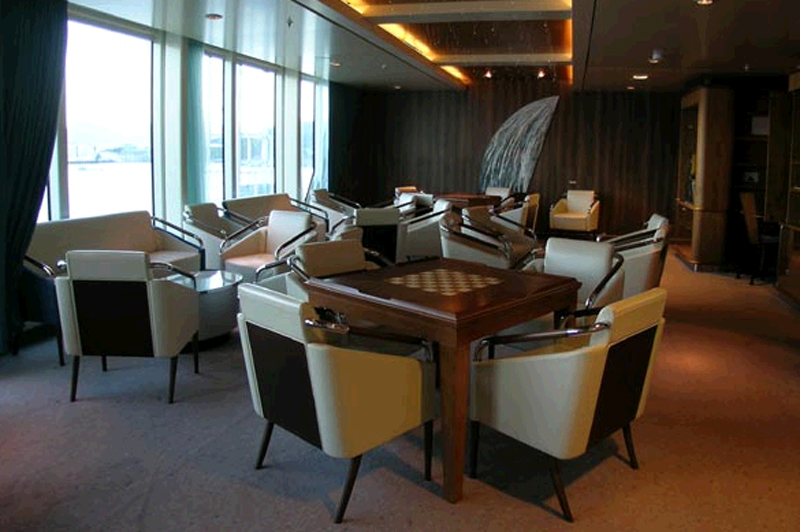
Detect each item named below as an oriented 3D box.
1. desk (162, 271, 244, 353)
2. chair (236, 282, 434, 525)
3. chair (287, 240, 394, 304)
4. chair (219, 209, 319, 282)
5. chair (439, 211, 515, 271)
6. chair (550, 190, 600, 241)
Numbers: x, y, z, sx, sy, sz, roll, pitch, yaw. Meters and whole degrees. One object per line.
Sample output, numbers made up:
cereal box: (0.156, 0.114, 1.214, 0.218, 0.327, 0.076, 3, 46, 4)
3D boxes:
desk: (-2.031, 0.406, 6.228, 0.825, 0.597, 0.790, 7, 9, 39)
chair: (-0.497, 0.625, 4.618, 1.373, 1.943, 1.501, 13, 19, 42)
chair: (-0.729, -0.043, 5.378, 0.631, 0.577, 0.613, -7, 11, -37)
chair: (-1.639, -0.318, 7.521, 0.804, 1.142, 1.109, 10, 14, 33)
chair: (0.933, -0.310, 7.221, 0.842, 0.878, 0.665, 5, 12, 20)
chair: (3.483, -1.016, 11.795, 0.968, 1.094, 1.020, 5, 10, 31)
